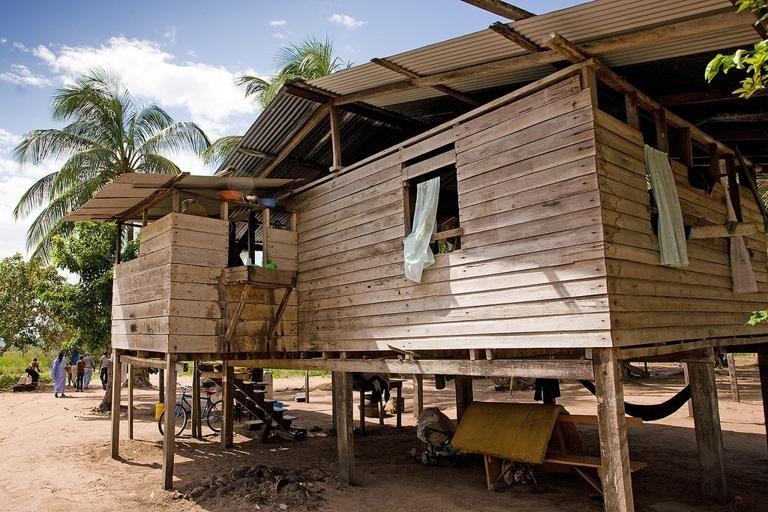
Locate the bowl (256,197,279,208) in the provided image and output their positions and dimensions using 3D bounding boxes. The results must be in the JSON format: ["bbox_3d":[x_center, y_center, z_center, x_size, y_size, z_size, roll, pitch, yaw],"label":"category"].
[{"bbox_3d":[-2.890,-1.280,14.042,0.399,0.101,0.303,-2,-4,17],"label":"bowl"}]

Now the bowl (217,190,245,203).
[{"bbox_3d":[-3.645,-1.402,13.707,0.248,0.291,0.662,-3,-3,39],"label":"bowl"}]
